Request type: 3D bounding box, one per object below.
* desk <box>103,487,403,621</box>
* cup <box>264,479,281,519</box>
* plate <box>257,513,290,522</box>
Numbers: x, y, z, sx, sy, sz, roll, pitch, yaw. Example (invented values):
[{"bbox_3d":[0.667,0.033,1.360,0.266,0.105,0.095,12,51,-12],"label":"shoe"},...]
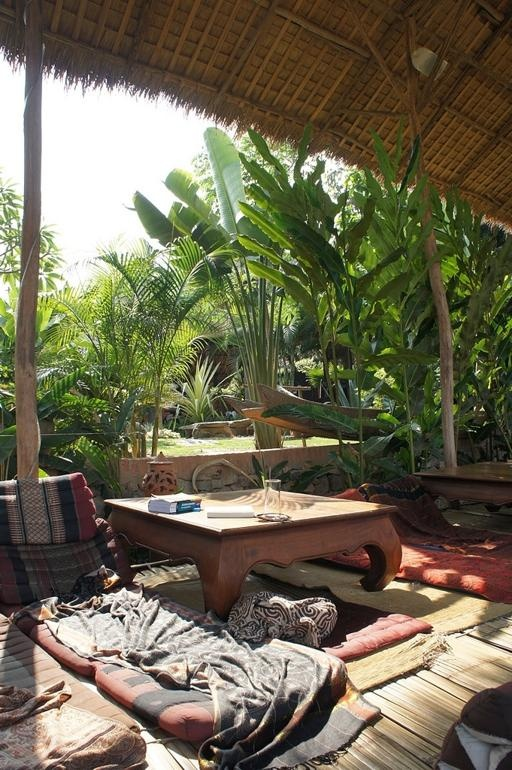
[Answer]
[{"bbox_3d":[0.016,0.870,2.720,1.308,0.503,0.972,12,-12,-40],"label":"desk"},{"bbox_3d":[0.073,0.528,2.351,0.068,0.159,0.108,3,-9,8],"label":"cup"},{"bbox_3d":[0.074,0.607,2.299,0.154,0.036,0.220,4,-9,-2],"label":"plate"}]
